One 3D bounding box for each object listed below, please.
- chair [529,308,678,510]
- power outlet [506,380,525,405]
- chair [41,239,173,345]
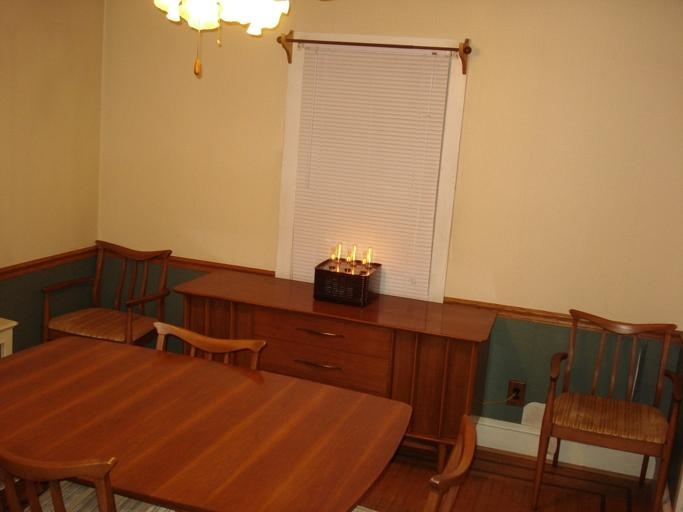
[{"bbox_3d":[1.694,0.980,3.457,0.744,1.209,0.742,8,8,25],"label":"chair"},{"bbox_3d":[1.235,0.954,3.872,0.142,0.223,0.113,4,9,24],"label":"power outlet"},{"bbox_3d":[-1.760,0.279,4.216,0.882,0.723,0.697,8,8,19],"label":"chair"}]
